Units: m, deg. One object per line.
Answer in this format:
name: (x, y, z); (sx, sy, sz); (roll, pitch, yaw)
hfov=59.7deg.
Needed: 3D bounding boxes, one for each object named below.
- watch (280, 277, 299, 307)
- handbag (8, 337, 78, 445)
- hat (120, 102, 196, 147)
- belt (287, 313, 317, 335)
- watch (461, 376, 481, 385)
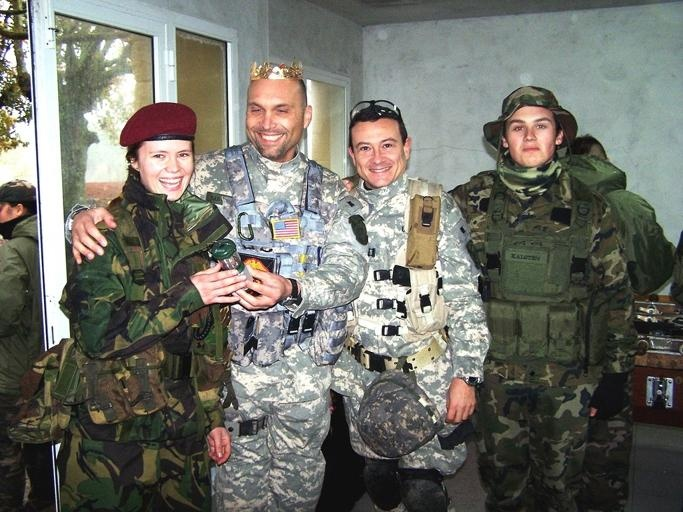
watch: (-0.205, 0.158, 2.562); (0.077, 0.117, 0.112); (11, 10, -14)
handbag: (-1.118, 0.552, 2.449); (0.337, 0.411, 0.164); (6, -5, 25)
hat: (-0.743, -0.539, 2.437); (0.243, 0.086, 0.192); (-2, 4, 39)
belt: (-0.183, 0.316, 2.785); (0.139, 0.106, 0.038); (1, 3, -12)
watch: (0.589, 0.559, 2.683); (0.046, 0.024, 0.059); (13, -15, -31)
